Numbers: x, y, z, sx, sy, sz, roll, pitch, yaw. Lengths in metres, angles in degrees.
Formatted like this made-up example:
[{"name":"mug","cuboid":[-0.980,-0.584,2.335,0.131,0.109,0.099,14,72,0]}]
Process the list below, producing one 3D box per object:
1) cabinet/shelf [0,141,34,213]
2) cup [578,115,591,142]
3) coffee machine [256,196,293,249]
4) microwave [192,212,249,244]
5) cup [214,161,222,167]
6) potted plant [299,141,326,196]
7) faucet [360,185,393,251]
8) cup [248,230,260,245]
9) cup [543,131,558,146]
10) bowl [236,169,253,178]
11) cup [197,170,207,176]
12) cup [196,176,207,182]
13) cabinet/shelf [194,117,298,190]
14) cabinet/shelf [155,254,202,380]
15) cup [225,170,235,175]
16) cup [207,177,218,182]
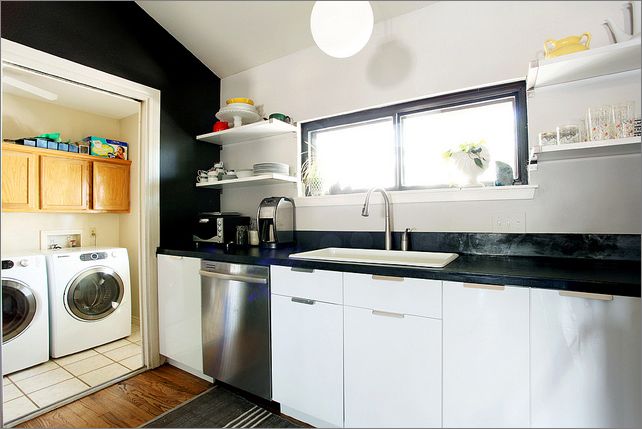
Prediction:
[{"name":"cabinet/shelf","cuboid":[-2.895,-0.354,4.028,0.095,0.499,0.337,-2,3,21]},{"name":"cup","cuboid":[1.776,-0.573,2.837,0.052,0.165,0.107,-1,4,31]},{"name":"coffee machine","cuboid":[-0.400,0.059,3.828,0.209,0.438,0.353,-1,3,29]},{"name":"microwave","cuboid":[-0.961,0.164,3.937,0.403,0.256,0.313,-3,-6,36]},{"name":"cup","cuboid":[-1.026,-0.501,4.196,0.058,0.031,0.094,-2,3,-31]},{"name":"potted plant","cuboid":[-0.083,-0.438,3.888,0.210,0.519,0.242,-3,3,-5]},{"name":"faucet","cuboid":[0.463,0.030,3.424,0.246,0.515,0.384,-3,3,5]},{"name":"cup","cuboid":[-0.630,0.214,3.924,0.128,0.141,0.127,0,-1,0]},{"name":"cup","cuboid":[1.579,-0.519,2.896,0.112,0.096,0.060,2,-2,34]},{"name":"bowl","cuboid":[-0.728,-0.382,3.932,0.197,0.075,0.087,-1,3,29]},{"name":"cup","cuboid":[-1.189,-0.418,4.207,0.082,0.050,0.082,-7,-14,-2]},{"name":"cup","cuboid":[-1.177,-0.352,4.165,0.097,0.067,0.058,0,-3,12]},{"name":"cabinet/shelf","cuboid":[-0.648,-0.401,4.082,1.356,0.615,0.531,-1,0,37]},{"name":"cabinet/shelf","cuboid":[-1.242,0.870,3.693,0.603,1.042,0.150,0,4,44]},{"name":"cup","cuboid":[-0.872,-0.409,4.050,0.083,0.051,0.130,-4,3,-17]},{"name":"cup","cuboid":[-1.058,-0.340,4.105,0.058,0.035,0.057,0,-2,0]}]
